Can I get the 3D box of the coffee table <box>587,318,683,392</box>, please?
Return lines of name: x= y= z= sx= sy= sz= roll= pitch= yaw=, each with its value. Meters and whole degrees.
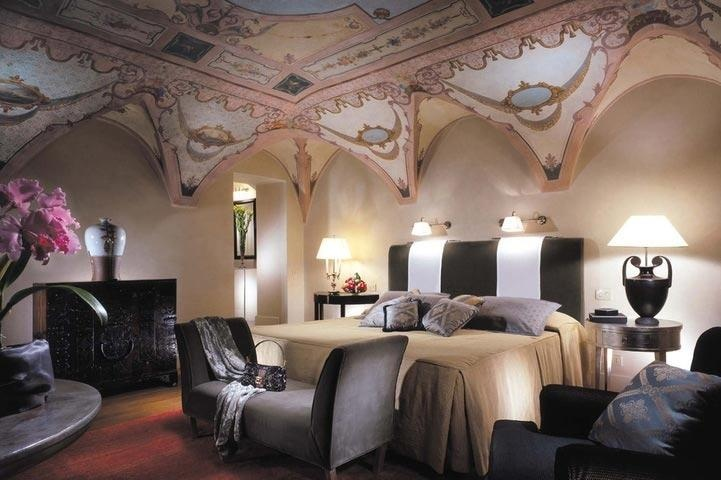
coffee table: x=2.890 y=1.299 z=5.180 sx=0.846 sy=0.912 sz=0.900 roll=0 pitch=0 yaw=-42

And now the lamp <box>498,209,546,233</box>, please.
lamp: x=2.065 y=-0.250 z=6.181 sx=0.558 sy=0.258 sz=0.230 roll=5 pitch=-6 yaw=-22

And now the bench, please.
bench: x=-0.656 y=1.334 z=4.355 sx=1.996 sy=1.176 sz=0.979 roll=1 pitch=7 yaw=39

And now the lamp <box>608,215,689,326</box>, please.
lamp: x=3.000 y=0.271 z=5.079 sx=0.619 sy=1.069 sz=0.588 roll=-7 pitch=7 yaw=-33

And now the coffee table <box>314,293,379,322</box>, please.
coffee table: x=-0.261 y=0.945 z=7.896 sx=0.674 sy=0.721 sz=0.667 roll=-1 pitch=-3 yaw=23

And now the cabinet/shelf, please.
cabinet/shelf: x=-2.912 y=1.159 z=5.994 sx=1.516 sy=1.330 sz=0.630 roll=-3 pitch=-5 yaw=1

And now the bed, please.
bed: x=1.090 y=1.165 z=5.223 sx=2.623 sy=1.570 sz=2.593 roll=3 pitch=-4 yaw=-43

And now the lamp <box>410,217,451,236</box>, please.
lamp: x=0.965 y=-0.184 z=7.022 sx=0.671 sy=0.282 sz=0.262 roll=1 pitch=7 yaw=40
